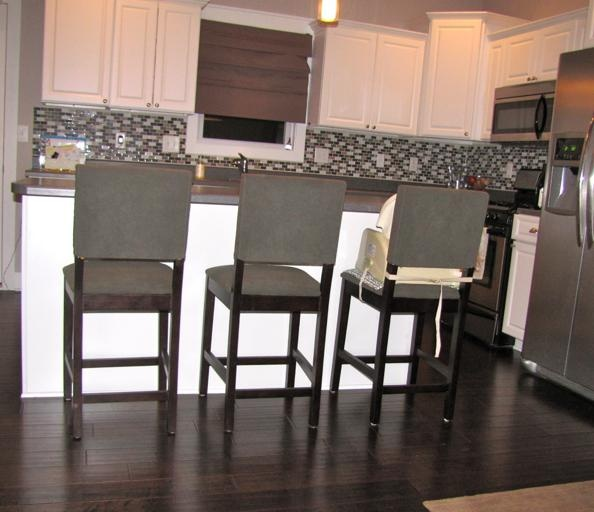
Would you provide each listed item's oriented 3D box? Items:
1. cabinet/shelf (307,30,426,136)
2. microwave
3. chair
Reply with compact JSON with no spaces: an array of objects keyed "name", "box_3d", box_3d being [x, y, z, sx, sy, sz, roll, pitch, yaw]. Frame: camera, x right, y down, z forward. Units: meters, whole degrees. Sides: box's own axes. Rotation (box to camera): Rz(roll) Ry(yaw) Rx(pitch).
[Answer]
[{"name":"cabinet/shelf","box_3d":[0.601,-1.545,4.769,0.752,0.721,0.282,4,12,-18]},{"name":"microwave","box_3d":[1.770,-1.141,4.337,0.429,0.692,0.395,1,9,17]},{"name":"chair","box_3d":[-0.137,0.268,2.654,1.267,0.989,0.480,0,8,-14]}]
